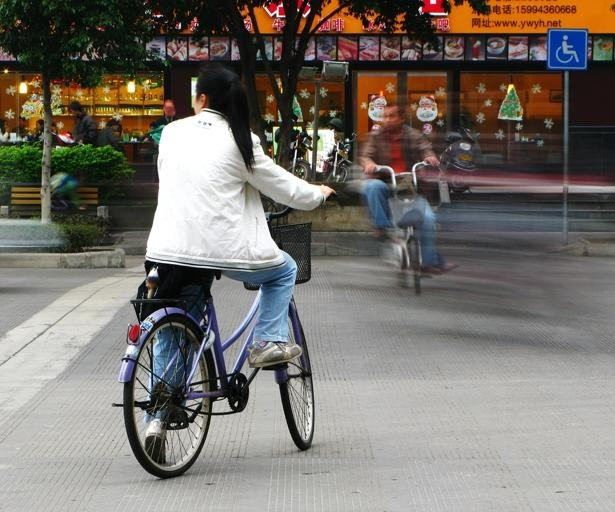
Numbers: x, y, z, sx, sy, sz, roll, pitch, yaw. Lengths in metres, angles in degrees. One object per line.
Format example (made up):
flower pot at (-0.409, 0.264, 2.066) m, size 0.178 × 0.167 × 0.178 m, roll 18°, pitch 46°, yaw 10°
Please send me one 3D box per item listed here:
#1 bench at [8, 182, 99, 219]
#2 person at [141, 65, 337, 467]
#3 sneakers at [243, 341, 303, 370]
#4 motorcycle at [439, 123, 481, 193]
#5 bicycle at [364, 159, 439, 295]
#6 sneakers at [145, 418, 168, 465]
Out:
bench at (-5.726, -1.263, 14.745) m, size 1.983 × 0.675 × 0.765 m, roll 0°, pitch 7°, yaw -3°
person at (-0.358, 0.011, 2.994) m, size 0.789 × 1.745 × 0.427 m, roll -2°, pitch 8°, yaw -16°
sneakers at (-0.154, 0.452, 3.109) m, size 0.235 × 0.110 × 0.099 m, roll -6°, pitch 7°, yaw -23°
motorcycle at (1.327, -0.846, 5.858) m, size 0.368 × 0.503 × 0.496 m, roll 1°, pitch 1°, yaw 0°
bicycle at (0.969, -0.278, 6.543) m, size 0.245 × 1.304 × 0.599 m, roll -7°, pitch 10°, yaw -41°
sneakers at (-0.636, 0.798, 2.831) m, size 0.055 × 0.231 × 0.134 m, roll 3°, pitch 8°, yaw 22°
